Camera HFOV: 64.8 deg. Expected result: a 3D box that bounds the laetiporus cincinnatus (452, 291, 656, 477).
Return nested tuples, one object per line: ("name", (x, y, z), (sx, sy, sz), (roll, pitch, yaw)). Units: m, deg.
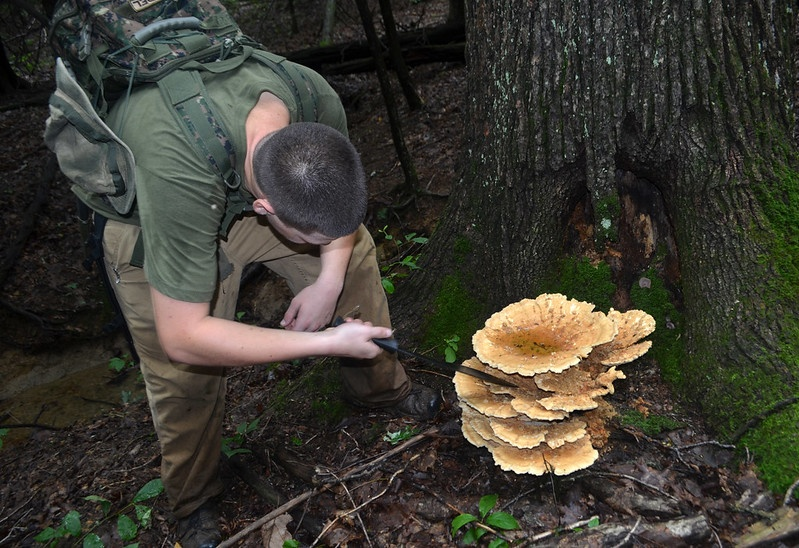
("laetiporus cincinnatus", (1.299, 0.946, 5.407), (1.625, 0.971, 1.266), (-26, 37, -19))
